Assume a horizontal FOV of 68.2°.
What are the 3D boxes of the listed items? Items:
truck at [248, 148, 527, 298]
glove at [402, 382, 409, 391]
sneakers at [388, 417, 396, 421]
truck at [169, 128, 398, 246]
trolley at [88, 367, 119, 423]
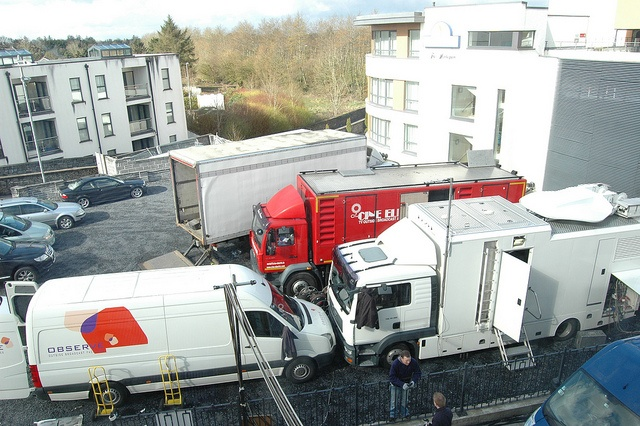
[{"bbox_3d":[3.588,0.233,22.181,13.801,5.808,4.877,-10,23,-18],"label":"truck"},{"bbox_3d":[2.577,5.231,14.196,0.132,0.180,0.090,7,-6,-21],"label":"glove"},{"bbox_3d":[2.231,6.411,14.591,0.203,0.132,0.108,0,32,-1],"label":"sneakers"},{"bbox_3d":[-1.679,-1.023,21.243,7.668,3.717,2.843,-15,24,-31],"label":"truck"},{"bbox_3d":[-6.814,5.548,14.685,0.553,1.564,0.454,-10,20,-12],"label":"trolley"}]
